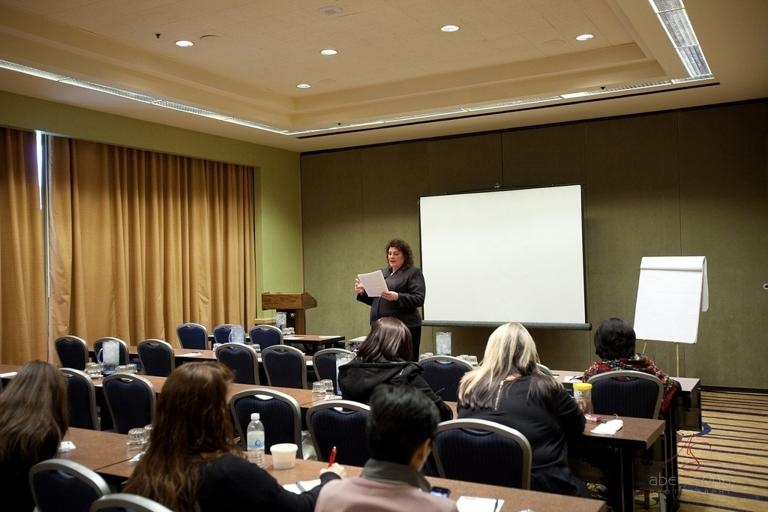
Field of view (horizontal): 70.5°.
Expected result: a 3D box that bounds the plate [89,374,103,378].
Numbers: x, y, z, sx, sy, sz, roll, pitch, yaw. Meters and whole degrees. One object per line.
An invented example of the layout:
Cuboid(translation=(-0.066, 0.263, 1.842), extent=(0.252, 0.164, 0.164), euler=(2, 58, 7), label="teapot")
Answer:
Cuboid(translation=(-2.753, 1.153, 5.220), extent=(0.084, 0.020, 0.082), euler=(1, -2, 34), label="plate")

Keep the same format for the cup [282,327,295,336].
Cuboid(translation=(-1.335, 1.050, 7.636), extent=(0.133, 0.057, 0.192), euler=(0, -2, 15), label="cup")

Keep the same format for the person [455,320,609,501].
Cuboid(translation=(0.885, 1.057, 3.621), extent=(0.806, 1.216, 0.799), euler=(-1, 11, 14), label="person")

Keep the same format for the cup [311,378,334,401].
Cuboid(translation=(-0.494, 1.073, 4.401), extent=(0.146, 0.128, 0.144), euler=(-1, 2, 0), label="cup")

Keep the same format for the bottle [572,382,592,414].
Cuboid(translation=(1.372, 0.999, 3.765), extent=(0.137, 0.214, 0.134), euler=(0, -6, 0), label="bottle")

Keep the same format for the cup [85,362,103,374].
Cuboid(translation=(-2.885, 1.120, 5.442), extent=(0.133, 0.119, 0.133), euler=(1, -5, 0), label="cup")

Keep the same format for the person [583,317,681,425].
Cuboid(translation=(1.988, 0.854, 4.544), extent=(0.681, 1.140, 0.770), euler=(0, 5, 33), label="person")

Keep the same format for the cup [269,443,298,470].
Cuboid(translation=(-0.574, 1.137, 3.119), extent=(0.135, 0.083, 0.135), euler=(-1, -1, 0), label="cup")
